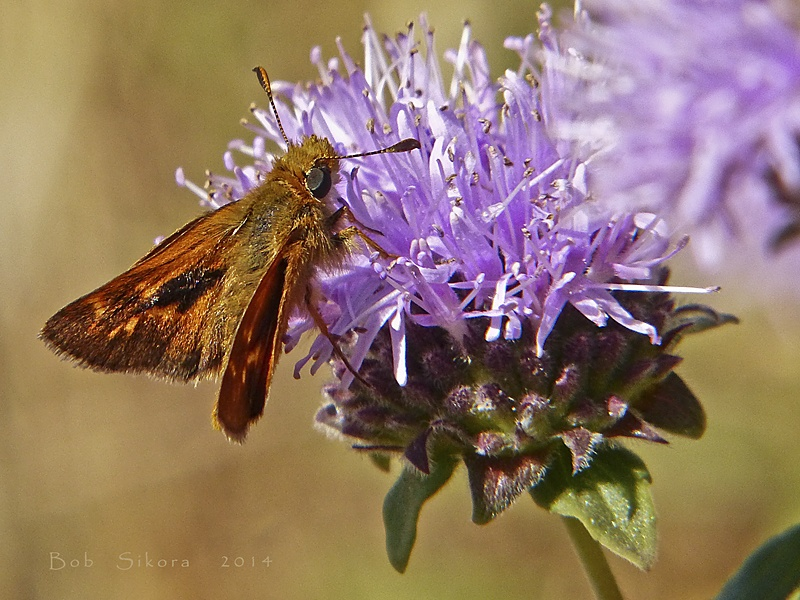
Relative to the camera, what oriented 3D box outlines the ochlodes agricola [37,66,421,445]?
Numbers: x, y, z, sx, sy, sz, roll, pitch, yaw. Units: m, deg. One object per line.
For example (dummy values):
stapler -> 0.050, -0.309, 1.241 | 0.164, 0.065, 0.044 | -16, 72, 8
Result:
ochlodes agricola -> -0.362, -0.053, 2.264 | 0.648, 1.031, 0.544 | -29, 27, -32
